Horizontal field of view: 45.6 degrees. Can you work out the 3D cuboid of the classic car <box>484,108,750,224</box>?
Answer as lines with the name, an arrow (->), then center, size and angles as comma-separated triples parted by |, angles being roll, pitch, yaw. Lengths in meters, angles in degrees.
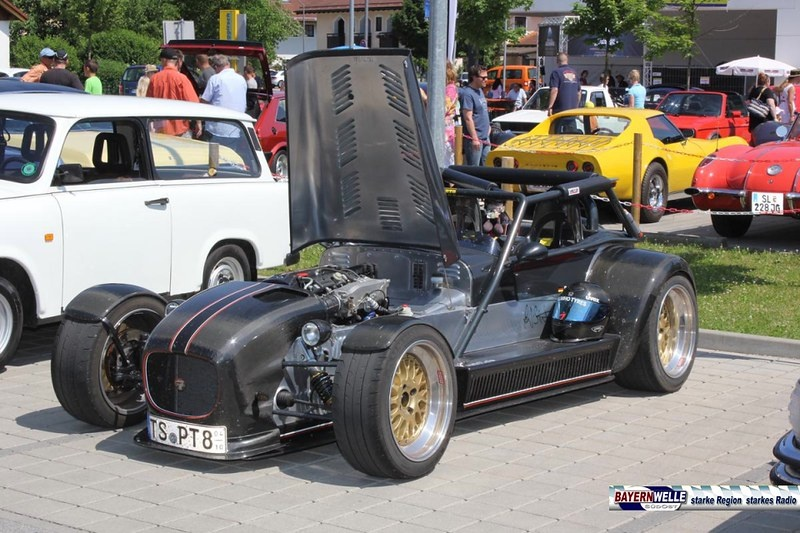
classic car -> 3.875, -2.033, 16.762 | 2.266, 1.392, 4.363 | 7, 12, 43

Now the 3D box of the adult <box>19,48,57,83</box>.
adult -> -7.398, -4.189, 19.854 | 0.554, 0.723, 0.797 | 4, 5, 9

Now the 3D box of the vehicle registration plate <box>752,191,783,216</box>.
vehicle registration plate -> 4.961, -0.859, 12.885 | 0.355, 0.248, 0.049 | 3, 0, 41

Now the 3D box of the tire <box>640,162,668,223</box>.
tire -> 4.277, -1.269, 16.406 | 0.318, 0.940, 0.960 | 4, 9, 43

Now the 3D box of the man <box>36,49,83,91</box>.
man -> -6.443, -3.763, 18.111 | 0.995, 0.724, 0.485 | 8, 9, 16

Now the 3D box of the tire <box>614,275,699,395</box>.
tire -> 2.391, 0.603, 8.842 | 0.403, 1.134, 1.163 | 0, -1, 41

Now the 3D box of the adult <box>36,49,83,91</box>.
adult -> -6.428, -3.772, 18.106 | 0.987, 0.719, 0.486 | 10, 10, 20

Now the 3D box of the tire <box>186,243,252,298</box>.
tire -> -1.914, 0.033, 9.821 | 0.522, 0.513, 0.187 | 17, -9, -39

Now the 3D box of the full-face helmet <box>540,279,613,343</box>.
full-face helmet -> 1.591, 0.377, 8.401 | 0.639, 0.499, 0.498 | 1, 7, -32

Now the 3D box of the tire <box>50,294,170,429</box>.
tire -> -2.436, 0.786, 8.156 | 0.446, 1.210, 1.234 | 7, 10, 21

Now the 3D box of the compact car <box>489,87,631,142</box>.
compact car -> 3.283, -3.448, 22.028 | 1.785, 1.341, 3.065 | 7, 10, 40

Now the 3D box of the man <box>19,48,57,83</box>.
man -> -7.419, -4.195, 19.875 | 0.522, 0.735, 0.798 | 7, 7, 15

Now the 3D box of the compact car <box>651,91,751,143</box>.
compact car -> 7.121, -3.622, 22.588 | 2.579, 1.073, 1.670 | -4, 6, -44

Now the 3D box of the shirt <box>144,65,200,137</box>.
shirt -> -3.875, -2.936, 15.897 | 0.914, 0.834, 0.328 | 4, 29, -2

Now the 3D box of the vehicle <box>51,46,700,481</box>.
vehicle -> 0.199, -0.115, 8.618 | 4.977, 2.955, 3.093 | -4, 6, -43

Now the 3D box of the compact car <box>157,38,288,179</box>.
compact car -> -4.428, -4.296, 23.066 | 2.677, 2.881, 4.853 | -3, -35, -15

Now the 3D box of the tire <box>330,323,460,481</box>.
tire -> -0.028, 1.019, 7.279 | 0.449, 1.177, 1.194 | -2, -15, 31
